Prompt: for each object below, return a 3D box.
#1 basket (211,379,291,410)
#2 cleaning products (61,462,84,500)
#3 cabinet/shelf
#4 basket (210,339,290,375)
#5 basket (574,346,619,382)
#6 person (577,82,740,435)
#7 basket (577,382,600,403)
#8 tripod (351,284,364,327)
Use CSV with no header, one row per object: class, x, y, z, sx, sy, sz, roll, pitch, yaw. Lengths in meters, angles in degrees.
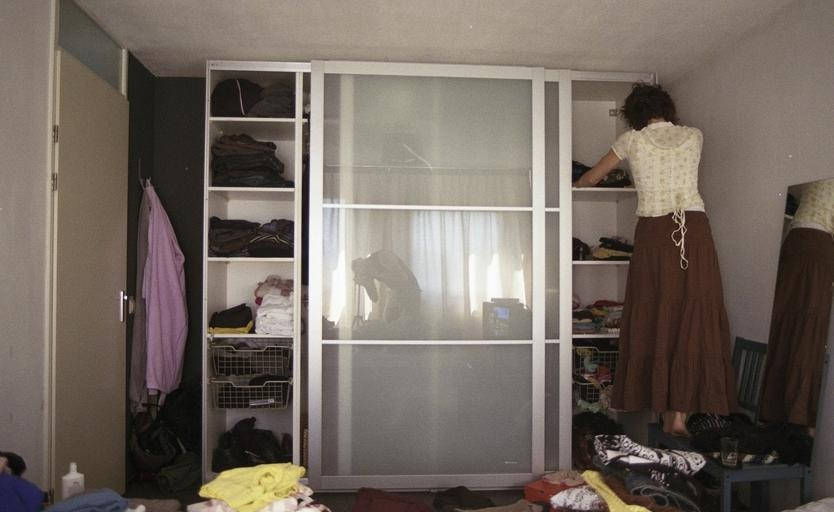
basket,-1.262,1.054,5.568,0.444,0.143,0.254,2,-5,-8
cleaning products,-1.956,1.287,4.189,0.104,0.197,0.298,0,-2,-27
cabinet/shelf,0.068,0.151,5.420,3.504,2.863,1.056,0,-3,-6
basket,-1.266,0.774,5.598,0.511,0.273,0.172,0,6,-8
basket,1.322,0.824,5.600,0.318,0.268,0.074,0,-16,-5
person,1.673,0.004,5.018,0.839,2.392,0.275,-2,-3,20
basket,1.282,1.031,5.580,0.179,0.162,0.134,0,-5,0
tripod,-0.438,0.367,5.407,0.090,0.316,0.020,0,-2,-10
